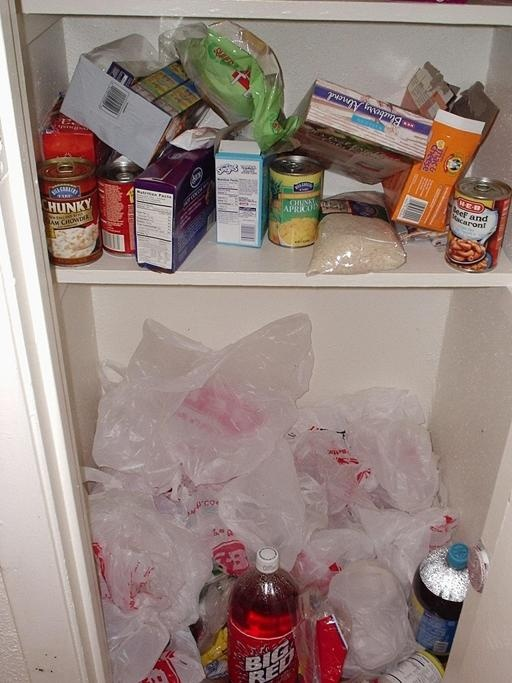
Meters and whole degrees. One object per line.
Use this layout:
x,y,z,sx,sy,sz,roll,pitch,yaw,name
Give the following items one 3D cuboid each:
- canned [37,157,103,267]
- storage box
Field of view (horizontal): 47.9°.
-0.248,-0.170,0.778,0.072,0.137,0.077,-5,33,-14,canned
-0.166,-0.355,0.835,0.171,0.150,0.218,5,31,1,storage box
